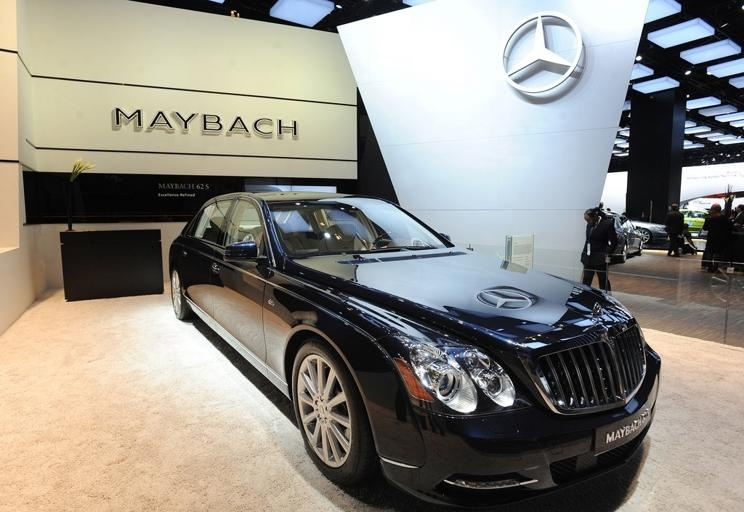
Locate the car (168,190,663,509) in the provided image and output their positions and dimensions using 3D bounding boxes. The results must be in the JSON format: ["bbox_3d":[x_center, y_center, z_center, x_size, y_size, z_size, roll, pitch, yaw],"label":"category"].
[{"bbox_3d":[-0.389,0.458,3.808,1.965,1.300,4.653,-6,11,-39],"label":"car"}]
